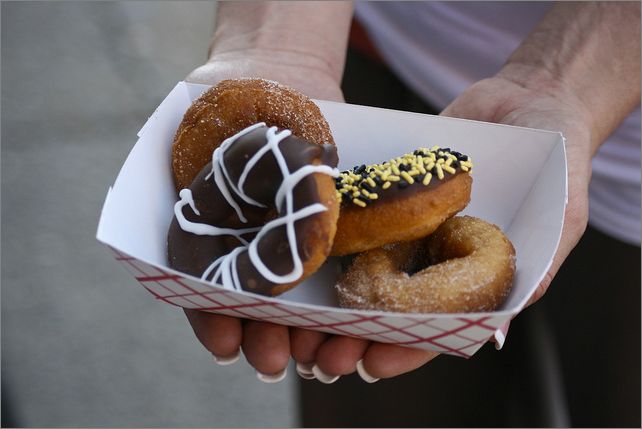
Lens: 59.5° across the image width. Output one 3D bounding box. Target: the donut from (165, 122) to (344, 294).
[{"bbox_3d":[-0.190,0.004,1.716,0.488,0.190,0.556,-6,77,27],"label":"donut"}]
